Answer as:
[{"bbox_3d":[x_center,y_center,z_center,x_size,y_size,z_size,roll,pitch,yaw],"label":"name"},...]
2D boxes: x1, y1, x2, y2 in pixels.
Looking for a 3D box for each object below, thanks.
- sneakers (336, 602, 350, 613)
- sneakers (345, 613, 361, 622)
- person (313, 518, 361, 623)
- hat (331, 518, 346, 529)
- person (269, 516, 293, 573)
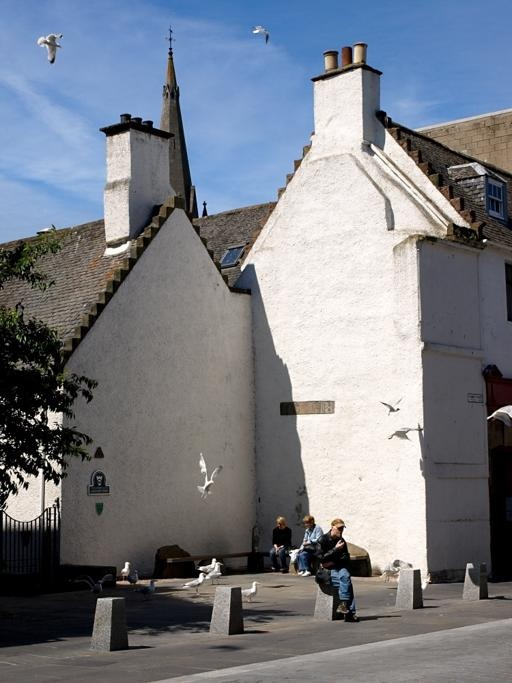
[{"bbox_3d":[1.211,3.757,16.682,0.149,0.189,0.402,-1,-10,1],"label":"sneakers"},{"bbox_3d":[1.338,3.835,16.556,0.173,0.187,0.109,-1,2,-17],"label":"sneakers"},{"bbox_3d":[1.125,3.264,16.844,0.551,1.361,0.726,-1,-9,4],"label":"person"},{"bbox_3d":[1.187,2.662,17.318,0.150,0.128,0.208,8,-21,-24],"label":"hat"},{"bbox_3d":[0.548,4.293,24.969,0.419,1.138,0.612,1,-9,-11],"label":"person"}]
